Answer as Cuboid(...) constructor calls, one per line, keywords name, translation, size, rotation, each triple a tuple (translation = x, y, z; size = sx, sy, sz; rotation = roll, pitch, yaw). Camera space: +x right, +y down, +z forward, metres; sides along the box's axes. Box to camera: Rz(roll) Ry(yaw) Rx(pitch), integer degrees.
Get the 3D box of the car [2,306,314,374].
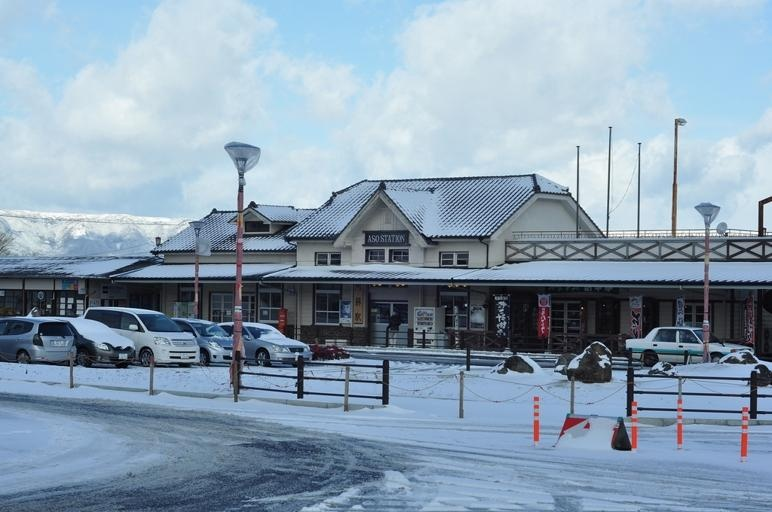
Cuboid(name="car", translation=(-9.766, 3.170, 42.796), size=(9.827, 2.349, 3.088), rotation=(3, -7, -18))
